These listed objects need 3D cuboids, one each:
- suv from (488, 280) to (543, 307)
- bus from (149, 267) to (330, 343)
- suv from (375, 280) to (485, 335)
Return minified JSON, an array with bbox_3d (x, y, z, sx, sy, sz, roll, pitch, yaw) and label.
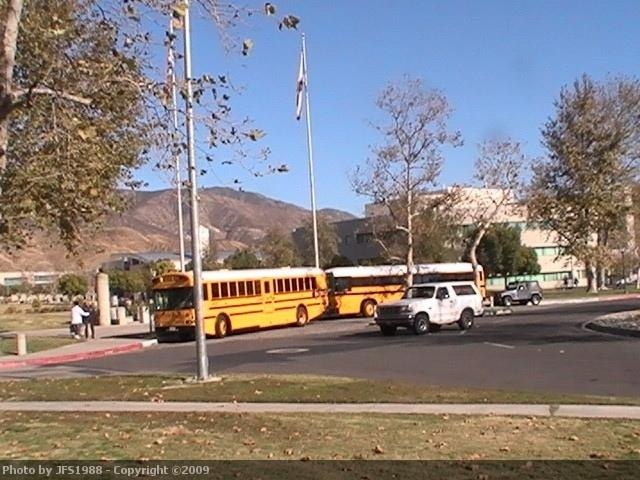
[{"bbox_3d":[16.284,4.549,51.351,3.530,1.931,2.110,2,-7,-18],"label":"suv"},{"bbox_3d":[-3.786,3.914,36.589,3.695,4.430,12.957,-9,-9,38],"label":"bus"},{"bbox_3d":[5.046,3.151,28.603,4.527,2.076,2.263,7,-12,-41],"label":"suv"}]
